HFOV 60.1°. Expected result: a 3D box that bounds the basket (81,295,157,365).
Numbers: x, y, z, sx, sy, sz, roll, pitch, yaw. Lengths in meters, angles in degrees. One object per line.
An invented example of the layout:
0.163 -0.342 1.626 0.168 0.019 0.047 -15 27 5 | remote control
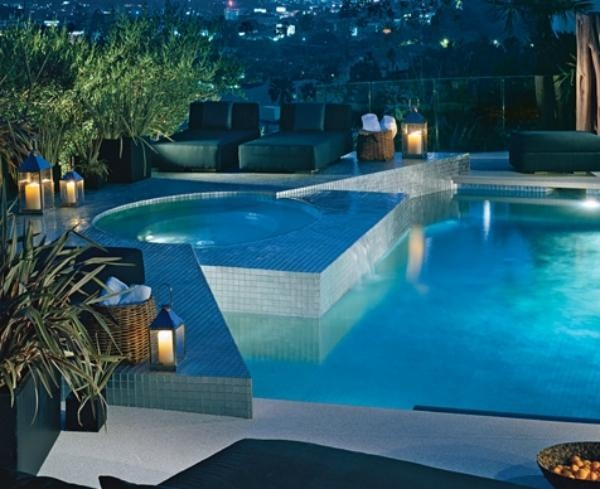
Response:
-0.822 0.378 2.328 0.250 0.262 0.320 -12 -7 17 | basket

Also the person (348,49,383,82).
1.587 -4.311 12.546 0.771 0.842 0.431 0 -3 7 | person

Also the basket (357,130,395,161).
1.092 -1.387 7.379 0.402 0.357 0.436 -7 16 -11 | basket
